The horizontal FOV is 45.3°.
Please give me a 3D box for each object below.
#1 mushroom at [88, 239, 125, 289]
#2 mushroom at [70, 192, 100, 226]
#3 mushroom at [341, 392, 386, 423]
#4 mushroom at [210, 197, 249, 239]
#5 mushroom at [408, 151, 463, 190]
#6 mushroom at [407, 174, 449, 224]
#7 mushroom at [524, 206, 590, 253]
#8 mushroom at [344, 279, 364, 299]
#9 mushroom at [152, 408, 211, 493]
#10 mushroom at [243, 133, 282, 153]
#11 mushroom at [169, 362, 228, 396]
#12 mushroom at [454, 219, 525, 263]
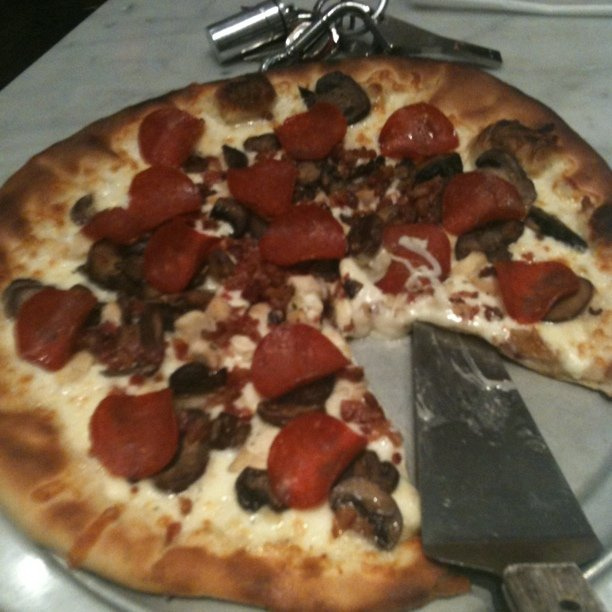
[{"bbox_3d":[-0.509,-0.110,1.846,0.115,0.031,0.101,0,81,-3],"label":"mushroom"},{"bbox_3d":[-0.577,-0.256,1.941,0.087,0.026,0.078,8,68,9],"label":"mushroom"},{"bbox_3d":[0.125,0.241,1.722,0.094,0.056,0.080,-16,69,-1],"label":"mushroom"},{"bbox_3d":[-0.204,-0.236,1.931,0.089,0.030,0.095,-39,23,5],"label":"mushroom"},{"bbox_3d":[0.346,-0.357,1.926,0.124,0.031,0.099,-42,37,-23],"label":"mushroom"},{"bbox_3d":[0.311,-0.274,1.901,0.120,0.034,0.106,-1,79,13],"label":"mushroom"},{"bbox_3d":[0.674,-0.181,1.877,0.078,0.191,0.090,21,75,2],"label":"mushroom"},{"bbox_3d":[0.122,-0.042,1.848,0.051,0.015,0.048,32,97,8],"label":"mushroom"},{"bbox_3d":[-0.274,0.337,1.663,0.159,0.069,0.155,16,69,-17],"label":"mushroom"},{"bbox_3d":[-0.117,-0.452,2.017,0.105,0.020,0.046,-3,67,4],"label":"mushroom"},{"bbox_3d":[-0.258,0.175,1.763,0.129,0.041,0.083,-4,68,3],"label":"mushroom"},{"bbox_3d":[0.460,-0.151,1.834,0.151,0.031,0.118,-15,40,3],"label":"mushroom"}]
